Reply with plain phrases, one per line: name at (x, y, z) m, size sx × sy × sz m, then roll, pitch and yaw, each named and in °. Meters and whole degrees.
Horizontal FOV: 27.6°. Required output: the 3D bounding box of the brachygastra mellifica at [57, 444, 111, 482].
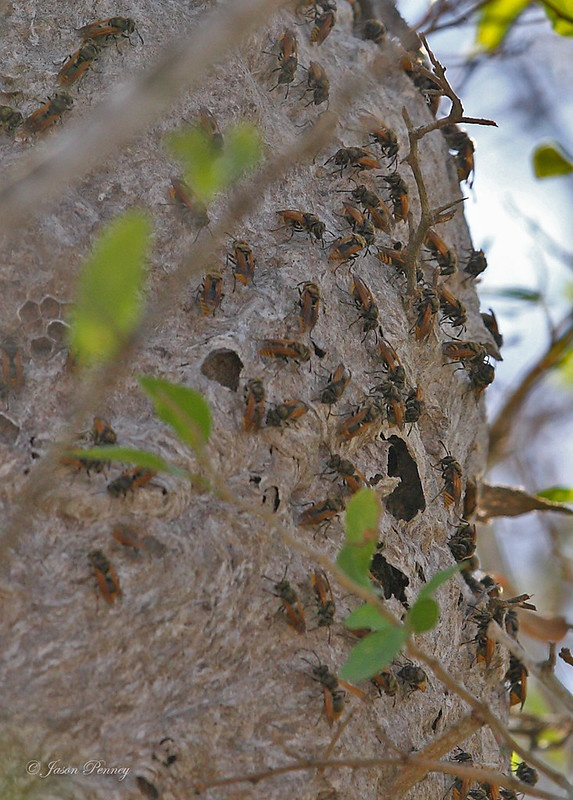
brachygastra mellifica at (-0.763, 0.240, 4.362) m, size 0.223 × 0.153 × 0.069 m, roll 1°, pitch -2°, yaw -5°

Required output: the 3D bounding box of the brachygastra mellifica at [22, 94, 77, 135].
brachygastra mellifica at (-1.000, -1.196, 4.927) m, size 0.129 × 0.215 × 0.058 m, roll 45°, pitch -21°, yaw -2°

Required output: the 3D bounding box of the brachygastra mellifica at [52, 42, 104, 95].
brachygastra mellifica at (-0.898, -1.417, 4.985) m, size 0.160 × 0.215 × 0.063 m, roll 44°, pitch -2°, yaw -13°
